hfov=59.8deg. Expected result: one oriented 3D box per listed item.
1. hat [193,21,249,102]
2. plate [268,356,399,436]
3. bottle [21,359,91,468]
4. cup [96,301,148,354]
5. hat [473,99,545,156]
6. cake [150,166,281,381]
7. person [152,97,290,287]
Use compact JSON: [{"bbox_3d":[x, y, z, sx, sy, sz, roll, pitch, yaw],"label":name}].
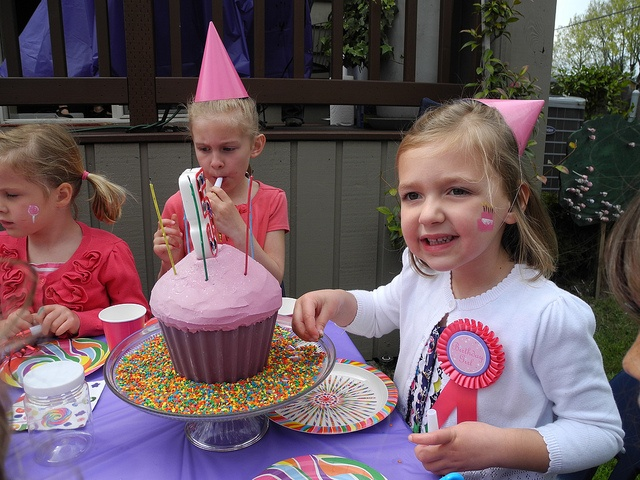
[{"bbox_3d":[-0.376,-0.656,2.059,0.171,0.278,0.170,2,14,9],"label":"hat"},{"bbox_3d":[0.044,0.531,1.911,0.338,0.182,0.310,-1,12,-28],"label":"plate"},{"bbox_3d":[-0.786,0.527,1.663,0.194,0.329,0.207,0,19,0],"label":"bottle"},{"bbox_3d":[-0.745,0.309,2.099,0.145,0.128,0.161,2,29,-1],"label":"cup"},{"bbox_3d":[0.668,-0.391,1.990,0.168,0.194,0.210,9,10,22],"label":"hat"},{"bbox_3d":[-0.304,0.063,2.028,0.659,0.571,0.730,-3,11,-21],"label":"cake"},{"bbox_3d":[-0.424,-0.307,2.638,0.552,1.059,0.557,0,16,-5],"label":"person"}]
